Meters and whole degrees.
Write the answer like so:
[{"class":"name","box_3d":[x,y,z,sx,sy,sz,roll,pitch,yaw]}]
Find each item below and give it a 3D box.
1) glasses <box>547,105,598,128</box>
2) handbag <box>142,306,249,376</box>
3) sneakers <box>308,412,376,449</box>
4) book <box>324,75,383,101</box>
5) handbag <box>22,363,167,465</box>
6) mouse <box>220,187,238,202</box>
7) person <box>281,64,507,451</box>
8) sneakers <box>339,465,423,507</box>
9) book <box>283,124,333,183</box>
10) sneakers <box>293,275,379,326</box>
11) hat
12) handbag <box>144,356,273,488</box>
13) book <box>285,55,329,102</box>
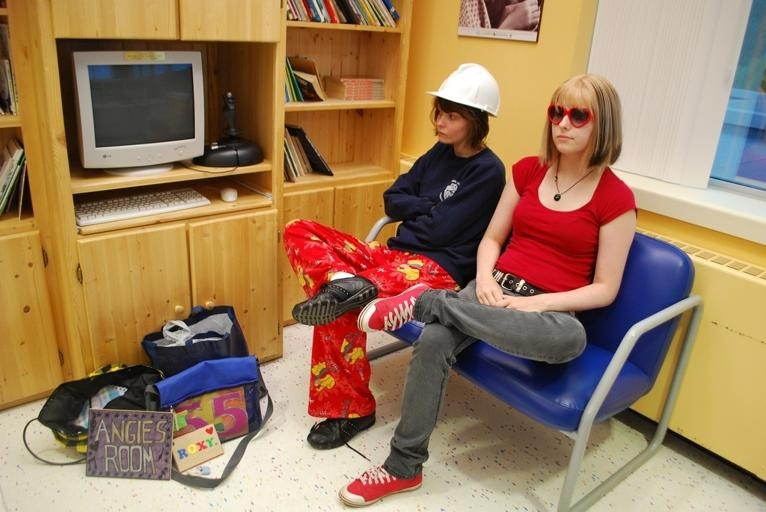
[{"class":"glasses","box_3d":[0.770,-0.583,2.251,0.073,0.085,0.202,-16,28,-36]},{"class":"handbag","box_3d":[-0.910,0.411,2.543,0.239,0.233,0.130,-20,-5,-31]},{"class":"sneakers","box_3d":[-0.199,0.801,2.577,0.275,0.110,0.119,-8,18,-32]},{"class":"book","box_3d":[-0.213,-1.002,3.220,0.212,0.074,0.216,-15,28,-37]},{"class":"handbag","box_3d":[-1.262,0.646,2.418,0.530,0.161,0.394,-25,58,-38]},{"class":"mouse","box_3d":[-0.782,-0.310,2.699,0.069,0.050,0.070,3,13,-11]},{"class":"person","box_3d":[-0.021,-0.013,2.573,1.246,1.721,0.879,-7,16,-40]},{"class":"sneakers","box_3d":[-0.002,0.977,2.370,0.376,0.146,0.139,-5,28,-19]},{"class":"book","box_3d":[-0.430,-0.613,3.147,0.305,0.313,0.080,19,42,43]},{"class":"sneakers","box_3d":[-0.216,0.184,2.328,0.395,0.164,0.145,-22,-8,-35]},{"class":"hat","box_3d":[0.400,-0.751,2.535,0.289,0.158,0.241,5,21,-46]},{"class":"handbag","box_3d":[-0.786,0.648,2.527,0.610,0.473,0.456,-13,23,-36]},{"class":"book","box_3d":[-0.427,-1.006,3.069,0.094,0.266,0.212,-25,31,-35]}]
